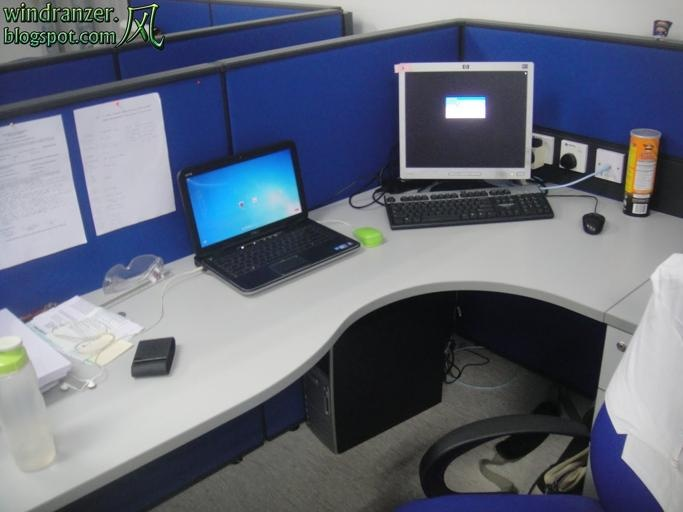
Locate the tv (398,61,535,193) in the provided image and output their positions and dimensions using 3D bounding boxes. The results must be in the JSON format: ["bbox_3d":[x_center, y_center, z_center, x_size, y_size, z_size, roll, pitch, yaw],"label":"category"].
[{"bbox_3d":[0.441,-0.485,1.900,0.492,0.395,0.091,0,25,3],"label":"tv"}]

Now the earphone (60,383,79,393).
[{"bbox_3d":[-0.645,0.308,1.237,0.030,0.012,0.019,8,32,8],"label":"earphone"}]

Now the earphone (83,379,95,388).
[{"bbox_3d":[-0.596,0.302,1.243,0.023,0.007,0.034,-24,34,-39],"label":"earphone"}]

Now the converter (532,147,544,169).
[{"bbox_3d":[0.752,-0.380,2.015,0.036,0.050,0.050,-18,37,-7],"label":"converter"}]

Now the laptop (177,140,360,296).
[{"bbox_3d":[-0.233,-0.063,1.676,0.572,0.381,0.465,-25,43,-32],"label":"laptop"}]
